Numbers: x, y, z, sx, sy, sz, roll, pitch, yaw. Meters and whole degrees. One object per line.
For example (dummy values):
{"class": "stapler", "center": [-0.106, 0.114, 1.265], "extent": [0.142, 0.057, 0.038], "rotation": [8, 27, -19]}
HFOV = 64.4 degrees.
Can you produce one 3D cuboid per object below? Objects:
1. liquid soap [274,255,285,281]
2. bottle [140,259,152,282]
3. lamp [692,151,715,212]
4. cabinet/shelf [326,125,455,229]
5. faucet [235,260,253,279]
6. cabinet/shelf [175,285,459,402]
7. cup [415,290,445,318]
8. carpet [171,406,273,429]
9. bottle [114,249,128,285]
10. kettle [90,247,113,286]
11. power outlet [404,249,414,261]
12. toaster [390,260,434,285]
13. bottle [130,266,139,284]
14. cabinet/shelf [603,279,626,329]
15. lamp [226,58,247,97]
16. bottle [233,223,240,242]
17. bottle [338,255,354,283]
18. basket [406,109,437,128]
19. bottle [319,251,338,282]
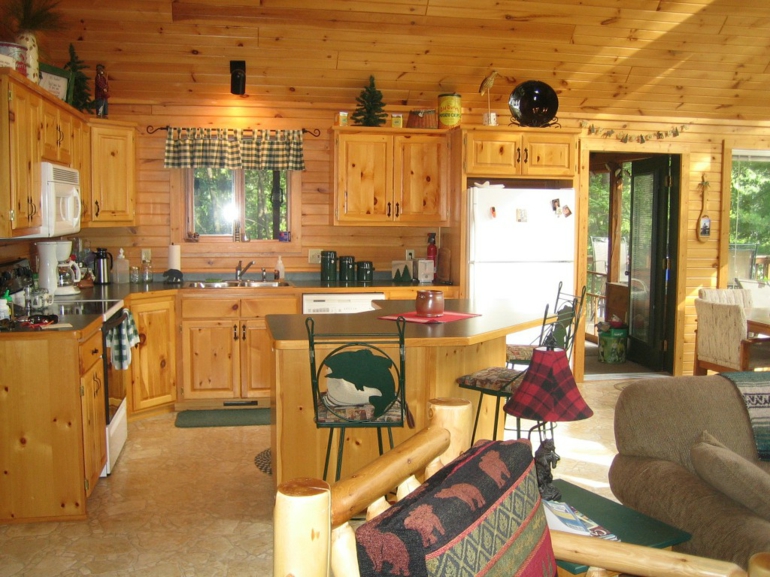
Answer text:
{"class": "liquid soap", "center": [-1.032, -0.196, 6.034], "extent": [0.100, 0.237, 0.243], "rotation": [-2, 8, -10]}
{"class": "bottle", "center": [-2.301, -0.170, 5.888], "extent": [0.112, 0.204, 0.101], "rotation": [0, 8, 1]}
{"class": "lamp", "center": [3.418, -1.118, 6.595], "extent": [0.263, 0.637, 0.087], "rotation": [-4, 9, -20]}
{"class": "cabinet/shelf", "center": [0.038, -1.062, 6.077], "extent": [1.188, 0.952, 0.445], "rotation": [-2, 8, -16]}
{"class": "faucet", "center": [-1.378, -0.174, 6.010], "extent": [0.165, 0.174, 0.194], "rotation": [-2, 8, -7]}
{"class": "cabinet/shelf", "center": [-0.793, 0.442, 5.969], "extent": [2.377, 1.246, 0.752], "rotation": [0, 23, -10]}
{"class": "cup", "center": [0.292, 0.100, 3.924], "extent": [0.165, 0.141, 0.163], "rotation": [0, 6, 0]}
{"class": "carpet", "center": [-1.414, 1.113, 5.317], "extent": [0.857, 0.030, 0.529], "rotation": [-1, 8, -5]}
{"class": "bottle", "center": [-2.477, -0.204, 5.740], "extent": [0.146, 0.309, 0.157], "rotation": [-1, 8, 0]}
{"class": "kettle", "center": [-2.554, -0.193, 5.535], "extent": [0.170, 0.310, 0.363], "rotation": [-4, 9, -24]}
{"class": "power outlet", "center": [0.248, -0.339, 6.322], "extent": [0.123, 0.134, 0.017], "rotation": [4, -3, -14]}
{"class": "toaster", "center": [0.282, -0.155, 6.004], "extent": [0.374, 0.243, 0.253], "rotation": [0, 5, -9]}
{"class": "bottle", "center": [-2.398, -0.133, 5.867], "extent": [0.080, 0.138, 0.128], "rotation": [-2, 8, -13]}
{"class": "cabinet/shelf", "center": [2.985, 0.213, 7.915], "extent": [0.180, 0.510, 0.558], "rotation": [-1, 6, -2]}
{"class": "lamp", "center": [-1.360, -1.916, 5.531], "extent": [0.215, 0.305, 0.218], "rotation": [8, 35, -6]}
{"class": "bottle", "center": [-1.476, -0.559, 6.110], "extent": [0.064, 0.176, 0.053], "rotation": [-3, 9, -14]}
{"class": "bottle", "center": [-0.375, -0.186, 6.036], "extent": [0.168, 0.232, 0.219], "rotation": [-1, 8, -4]}
{"class": "basket", "center": [0.365, -1.635, 5.982], "extent": [0.296, 0.193, 0.167], "rotation": [0, 3, -5]}
{"class": "bottle", "center": [-0.551, -0.219, 6.055], "extent": [0.162, 0.288, 0.218], "rotation": [0, 8, 1]}
